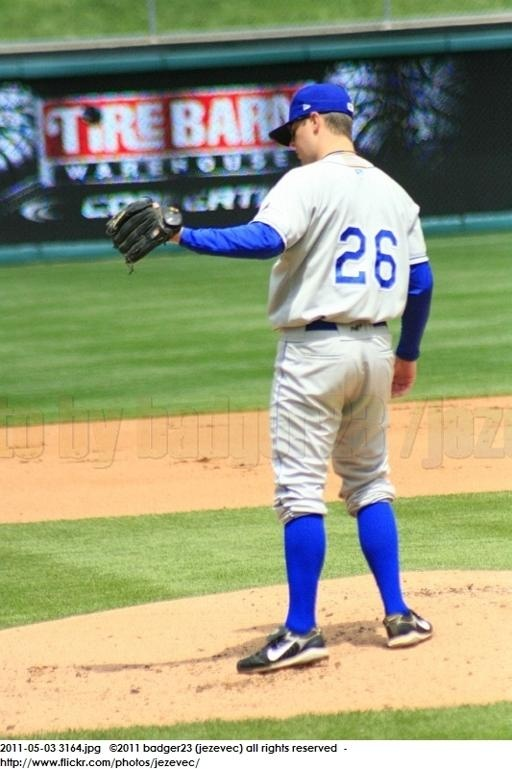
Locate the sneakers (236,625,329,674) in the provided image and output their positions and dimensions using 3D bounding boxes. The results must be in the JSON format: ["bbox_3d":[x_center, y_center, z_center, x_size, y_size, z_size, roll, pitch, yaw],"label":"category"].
[{"bbox_3d":[0.108,0.946,4.749,0.393,0.150,0.130,-8,-12,-8],"label":"sneakers"}]

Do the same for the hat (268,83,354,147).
[{"bbox_3d":[0.206,-1.021,4.889,0.330,0.159,0.202,-7,-6,13],"label":"hat"}]

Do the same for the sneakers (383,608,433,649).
[{"bbox_3d":[0.540,0.884,4.759,0.088,0.095,0.224,-11,-3,32],"label":"sneakers"}]

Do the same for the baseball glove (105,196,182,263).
[{"bbox_3d":[-0.424,-0.557,4.650,0.308,0.126,0.235,-31,-9,-31],"label":"baseball glove"}]

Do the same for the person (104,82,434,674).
[{"bbox_3d":[0.225,-0.051,4.787,1.035,2.045,0.717,-16,17,-41],"label":"person"}]
